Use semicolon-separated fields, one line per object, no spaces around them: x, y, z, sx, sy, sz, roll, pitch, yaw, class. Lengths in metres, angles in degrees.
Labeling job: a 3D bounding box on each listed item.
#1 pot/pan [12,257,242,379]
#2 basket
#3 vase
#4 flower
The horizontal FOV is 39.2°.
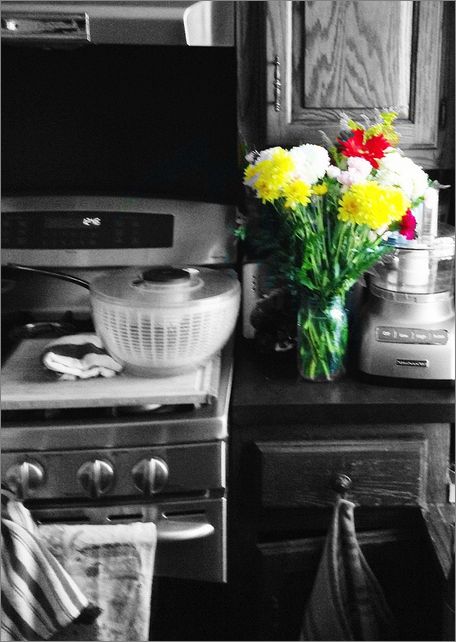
-0.115;-0.007;0.981;0.258;0.095;0.135;9;17;36;pot/pan
-0.108;-0.004;0.962;0.158;0.082;0.151;1;13;22;basket
0.162;0.028;1.114;0.094;0.142;0.090;-3;8;-11;vase
0.148;-0.187;1.214;0.427;0.566;0.395;3;19;11;flower
